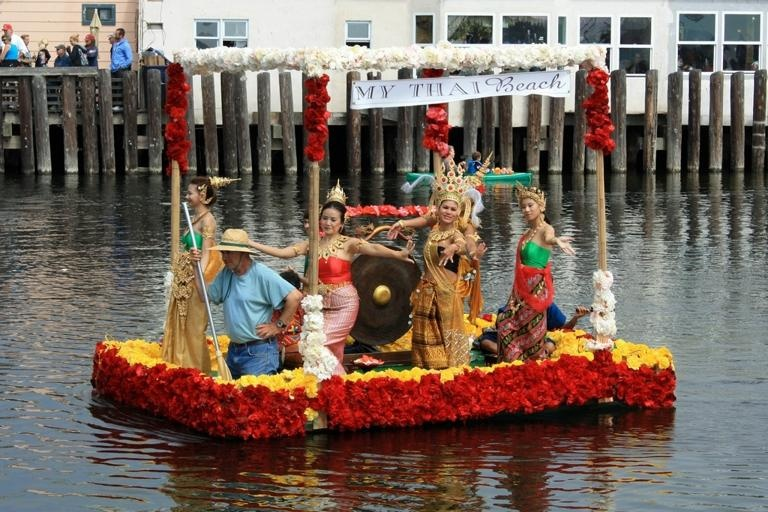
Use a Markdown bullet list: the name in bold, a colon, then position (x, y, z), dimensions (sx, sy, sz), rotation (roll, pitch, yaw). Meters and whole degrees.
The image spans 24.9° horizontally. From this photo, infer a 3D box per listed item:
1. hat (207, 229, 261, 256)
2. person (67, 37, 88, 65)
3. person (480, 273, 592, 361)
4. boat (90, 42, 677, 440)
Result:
- **hat**: position (-2.056, -0.191, 23.527), dimensions (0.557, 0.361, 0.468), rotation (-2, 5, -7)
- **person**: position (-7.211, -4.798, 40.834), dimensions (0.425, 0.782, 1.314), rotation (-3, 5, -10)
- **person**: position (2.093, 0.998, 24.572), dimensions (1.411, 1.009, 0.785), rotation (-1, 12, -20)
- **boat**: position (-0.071, -0.306, 23.819), dimensions (7.397, 5.176, 1.730), rotation (-3, 6, -9)
